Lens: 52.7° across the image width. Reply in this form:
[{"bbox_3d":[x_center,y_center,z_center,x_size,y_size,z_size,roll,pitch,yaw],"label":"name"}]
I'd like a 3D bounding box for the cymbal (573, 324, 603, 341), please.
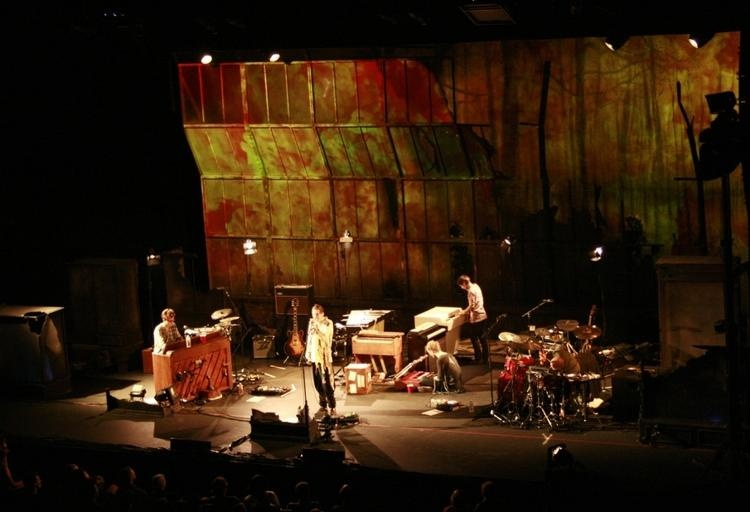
[{"bbox_3d":[4.133,1.518,14.789,0.472,0.274,0.385,-3,-1,13],"label":"cymbal"}]

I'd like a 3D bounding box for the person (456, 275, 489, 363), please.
[{"bbox_3d":[2.192,1.429,17.183,0.573,1.972,0.683,-4,9,-29],"label":"person"}]

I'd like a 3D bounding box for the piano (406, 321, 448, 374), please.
[{"bbox_3d":[1.101,2.012,16.876,0.892,0.991,1.002,-2,4,23],"label":"piano"}]

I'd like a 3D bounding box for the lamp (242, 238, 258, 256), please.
[{"bbox_3d":[-3.251,-0.213,19.147,0.404,0.407,0.398,-1,-1,19],"label":"lamp"}]

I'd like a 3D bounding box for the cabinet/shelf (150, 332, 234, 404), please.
[{"bbox_3d":[-3.868,2.368,16.165,0.853,1.219,1.557,11,14,40],"label":"cabinet/shelf"}]

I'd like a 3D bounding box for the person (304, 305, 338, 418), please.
[{"bbox_3d":[-1.047,2.015,14.781,0.535,1.994,0.703,-4,1,-25],"label":"person"}]

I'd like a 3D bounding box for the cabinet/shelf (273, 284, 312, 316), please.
[{"bbox_3d":[-1.980,1.020,18.763,1.134,0.961,0.661,0,0,8],"label":"cabinet/shelf"}]

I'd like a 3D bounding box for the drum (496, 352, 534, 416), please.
[{"bbox_3d":[2.637,2.454,14.378,0.911,1.159,0.452,-4,0,41],"label":"drum"}]

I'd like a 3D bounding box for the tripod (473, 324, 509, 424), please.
[{"bbox_3d":[2.603,2.254,16.939,0.508,1.466,0.592,1,7,18],"label":"tripod"}]

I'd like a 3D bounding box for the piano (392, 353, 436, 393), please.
[{"bbox_3d":[0.811,2.480,16.063,0.804,0.209,0.827,0,14,24],"label":"piano"}]

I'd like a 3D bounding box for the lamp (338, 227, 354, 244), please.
[{"bbox_3d":[-0.732,-0.460,18.806,0.381,0.352,0.353,0,-1,5],"label":"lamp"}]

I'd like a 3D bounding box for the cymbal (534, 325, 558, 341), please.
[{"bbox_3d":[3.434,1.536,14.983,0.330,0.074,0.335,-2,4,-12],"label":"cymbal"}]

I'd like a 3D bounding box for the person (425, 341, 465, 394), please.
[{"bbox_3d":[1.450,2.273,15.684,0.706,1.008,0.554,-4,0,4],"label":"person"}]
